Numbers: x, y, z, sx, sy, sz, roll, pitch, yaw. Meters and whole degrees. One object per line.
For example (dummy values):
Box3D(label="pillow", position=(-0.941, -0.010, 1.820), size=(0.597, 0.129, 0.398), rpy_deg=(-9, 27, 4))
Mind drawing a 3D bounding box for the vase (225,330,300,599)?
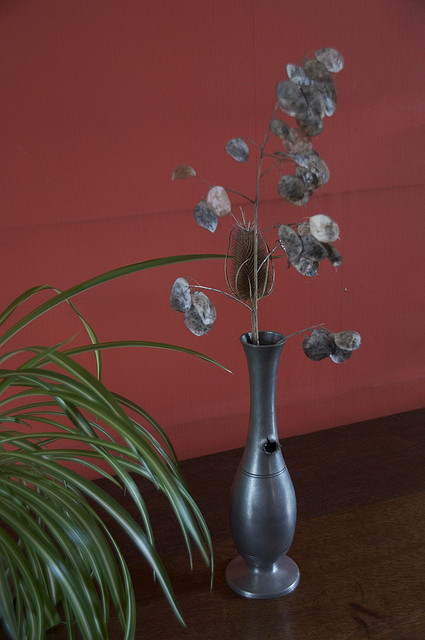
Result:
Box3D(label="vase", position=(0.077, 0.226, 0.956), size=(0.127, 0.435, 0.174), rpy_deg=(-1, 15, 5))
